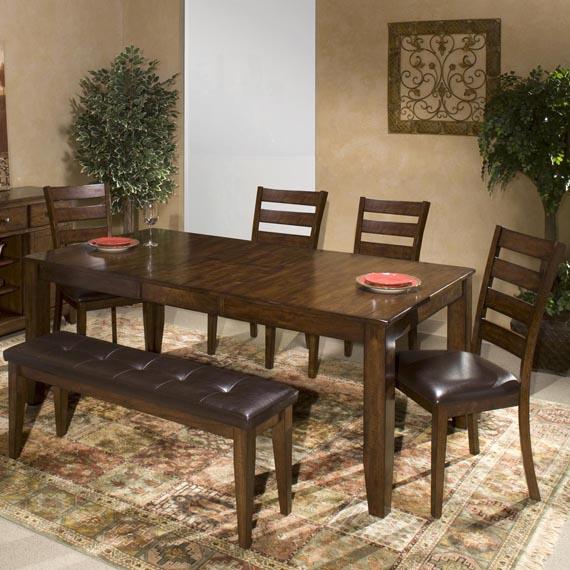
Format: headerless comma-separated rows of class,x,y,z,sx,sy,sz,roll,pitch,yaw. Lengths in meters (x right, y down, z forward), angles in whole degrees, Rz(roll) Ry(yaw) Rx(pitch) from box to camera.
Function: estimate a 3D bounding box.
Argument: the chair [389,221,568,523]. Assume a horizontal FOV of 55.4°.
chair,0.722,0.275,2.078,0.649,0.973,0.635,-1,15,-10
